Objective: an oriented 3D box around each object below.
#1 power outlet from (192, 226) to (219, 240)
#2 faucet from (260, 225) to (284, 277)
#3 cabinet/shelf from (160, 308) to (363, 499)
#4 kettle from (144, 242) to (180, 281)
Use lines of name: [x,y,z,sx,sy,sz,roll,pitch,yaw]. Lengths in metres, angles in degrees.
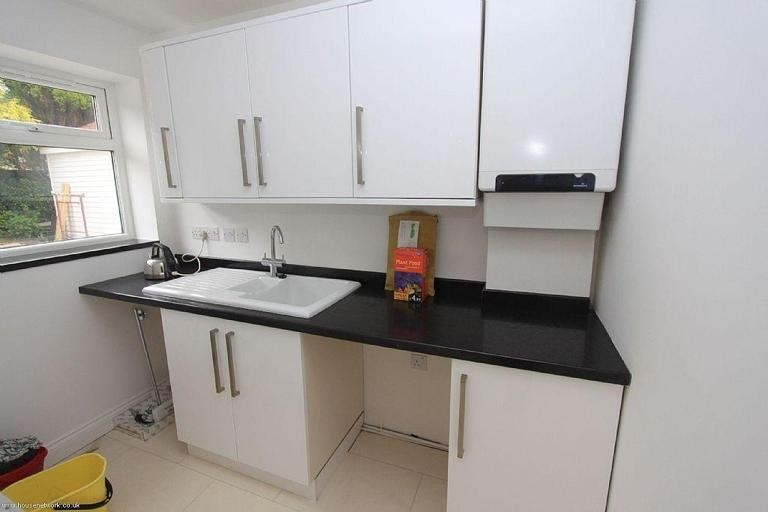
power outlet: [-1.222,-0.151,3.497,0.240,0.093,0.025,3,11,24]
faucet: [-0.684,-0.035,3.176,0.143,0.321,0.326,-4,10,-13]
cabinet/shelf: [-0.735,0.716,3.146,0.881,0.945,0.753,5,16,23]
kettle: [-1.451,0.025,3.340,0.165,0.219,0.213,10,11,40]
